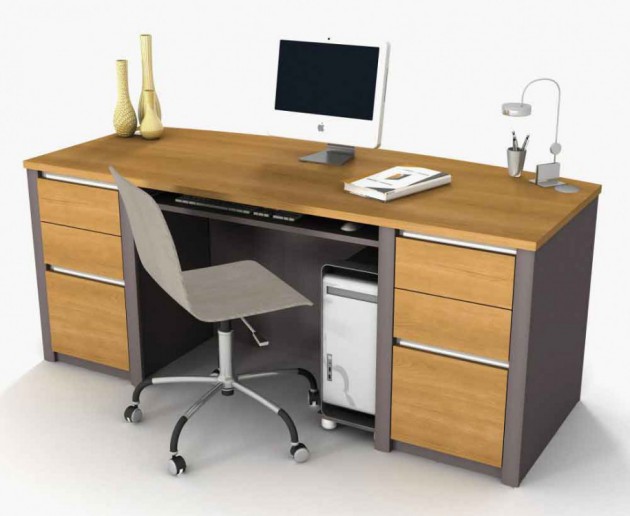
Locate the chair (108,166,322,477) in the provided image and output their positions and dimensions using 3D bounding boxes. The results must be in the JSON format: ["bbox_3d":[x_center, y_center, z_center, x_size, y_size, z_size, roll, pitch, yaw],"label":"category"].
[{"bbox_3d":[-0.367,0.223,2.629,0.915,1.154,0.953,-7,16,-31],"label":"chair"}]

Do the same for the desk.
[{"bbox_3d":[-0.111,0.091,3.021,2.548,1.101,1.061,11,23,25],"label":"desk"}]

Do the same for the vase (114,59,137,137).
[{"bbox_3d":[-1.109,-0.910,3.300,0.138,0.431,0.196,-6,22,-17],"label":"vase"}]

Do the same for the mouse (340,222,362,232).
[{"bbox_3d":[0.150,-0.129,2.411,0.091,0.031,0.067,1,20,-1],"label":"mouse"}]
